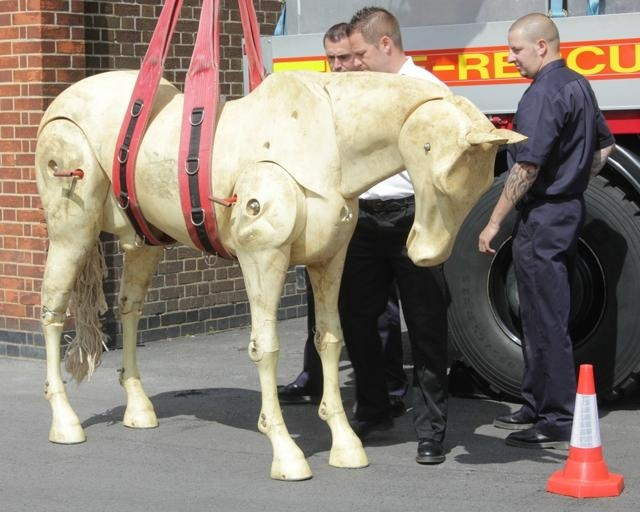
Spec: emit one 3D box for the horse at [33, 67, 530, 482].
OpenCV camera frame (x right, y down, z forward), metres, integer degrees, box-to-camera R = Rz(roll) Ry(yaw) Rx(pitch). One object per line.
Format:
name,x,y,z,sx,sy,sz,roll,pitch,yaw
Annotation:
horse,-0.345,0.098,7.081,3.139,2.127,0.882,3,2,36

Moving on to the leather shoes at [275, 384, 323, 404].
leather shoes,-0.123,0.936,8.368,0.346,0.128,0.113,4,-3,-1

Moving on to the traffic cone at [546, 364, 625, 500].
traffic cone,1.435,0.932,6.579,0.393,0.673,0.285,2,11,17
